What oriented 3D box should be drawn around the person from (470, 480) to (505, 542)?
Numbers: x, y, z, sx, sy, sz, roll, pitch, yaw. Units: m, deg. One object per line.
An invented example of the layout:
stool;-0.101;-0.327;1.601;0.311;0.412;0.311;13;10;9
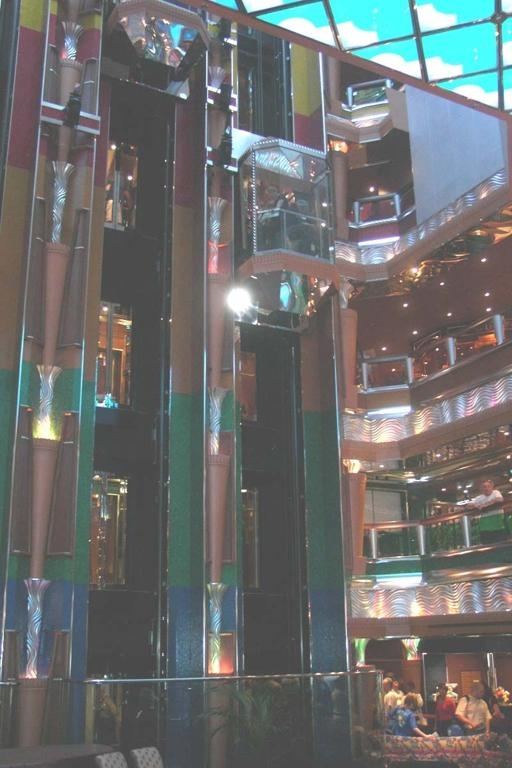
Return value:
person;4.372;2.406;12.494;0.453;1.176;0.953;1;-13;3
